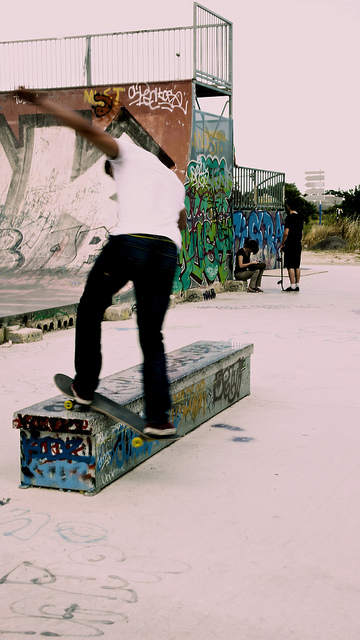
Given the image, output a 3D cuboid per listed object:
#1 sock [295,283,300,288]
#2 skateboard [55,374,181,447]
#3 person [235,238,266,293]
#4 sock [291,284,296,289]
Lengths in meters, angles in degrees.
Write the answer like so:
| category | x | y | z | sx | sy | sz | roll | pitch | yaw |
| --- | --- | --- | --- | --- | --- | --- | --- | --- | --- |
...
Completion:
| category | x | y | z | sx | sy | sz | roll | pitch | yaw |
| --- | --- | --- | --- | --- | --- | --- | --- | --- | --- |
| sock | 2.113 | -0.632 | 13.347 | 0.055 | 0.085 | 0.079 | -1 | 5 | -2 |
| skateboard | -0.288 | 0.417 | 3.444 | 0.533 | 0.083 | 0.132 | 36 | 19 | 12 |
| person | 1.275 | -0.995 | 13.651 | 0.520 | 0.923 | 1.435 | 0 | 7 | 4 |
| sock | 2.016 | -0.603 | 13.280 | 0.061 | 0.071 | 0.122 | 0 | 16 | 8 |
